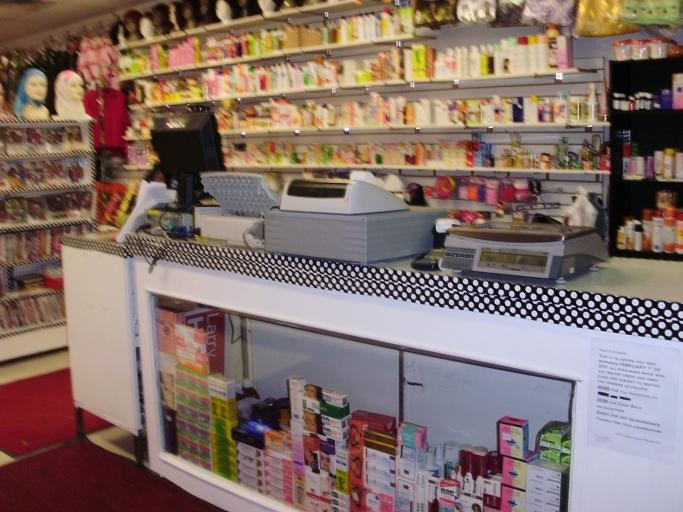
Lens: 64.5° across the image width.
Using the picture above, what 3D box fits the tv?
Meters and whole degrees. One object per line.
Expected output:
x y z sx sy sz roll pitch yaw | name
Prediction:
-0.830 -0.491 2.891 0.206 0.488 0.490 -12 15 -38 | tv

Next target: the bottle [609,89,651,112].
2.120 -1.100 3.909 0.271 0.140 0.159 4 13 28 | bottle

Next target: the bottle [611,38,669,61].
2.101 -1.424 3.782 0.225 0.083 0.238 0 14 0 | bottle

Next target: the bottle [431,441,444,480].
0.377 0.779 2.083 0.044 0.121 0.042 -3 11 1 | bottle
